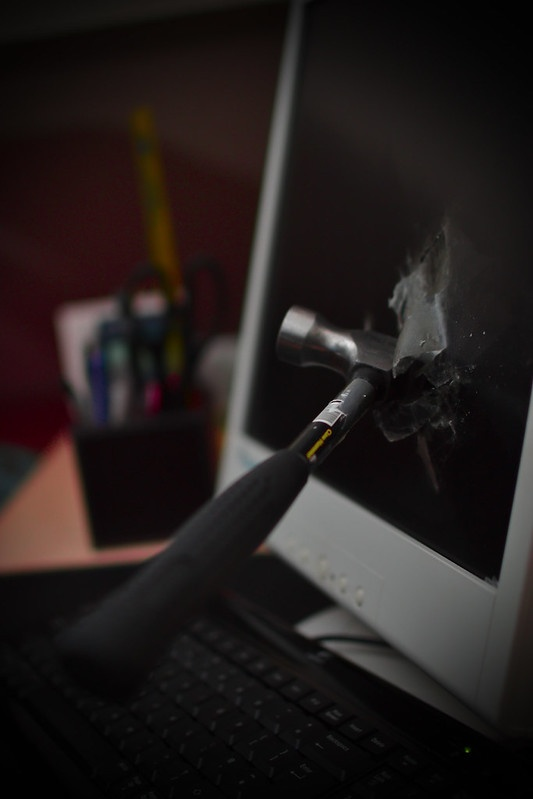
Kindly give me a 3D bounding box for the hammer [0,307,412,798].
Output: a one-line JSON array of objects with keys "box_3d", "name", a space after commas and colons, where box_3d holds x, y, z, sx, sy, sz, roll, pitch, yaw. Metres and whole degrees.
[{"box_3d": [0.018, 0.057, 0.393, 0.115, 0.043, 0.321, 24, 58, 36], "name": "hammer"}]
